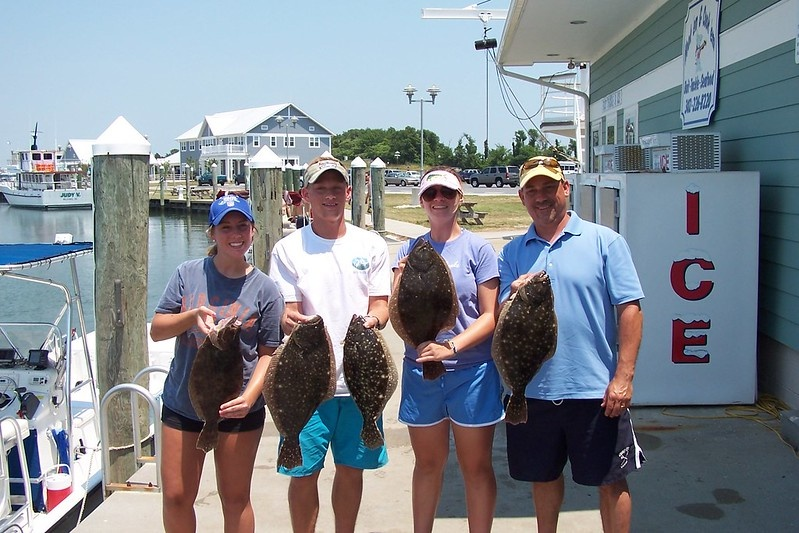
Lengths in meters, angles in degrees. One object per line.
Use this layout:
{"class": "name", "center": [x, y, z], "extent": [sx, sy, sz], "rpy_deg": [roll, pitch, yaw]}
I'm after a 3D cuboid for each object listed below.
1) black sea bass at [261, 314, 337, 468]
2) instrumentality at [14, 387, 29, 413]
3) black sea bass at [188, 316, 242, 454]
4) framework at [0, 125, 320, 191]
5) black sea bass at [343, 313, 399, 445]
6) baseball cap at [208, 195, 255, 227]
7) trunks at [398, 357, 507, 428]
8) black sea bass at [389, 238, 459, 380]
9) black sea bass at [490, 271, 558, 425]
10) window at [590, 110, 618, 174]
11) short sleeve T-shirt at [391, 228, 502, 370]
{"class": "black sea bass", "center": [-0.786, 0.978, 5.815], "extent": [0.570, 1.205, 0.186], "rpy_deg": [-2, 6, -9]}
{"class": "instrumentality", "center": [-4.367, 1.503, 8.485], "extent": [0.115, 0.209, 0.350], "rpy_deg": [-4, 8, -28]}
{"class": "black sea bass", "center": [-1.461, 0.910, 5.852], "extent": [0.438, 1.029, 0.208], "rpy_deg": [-2, 6, -16]}
{"class": "framework", "center": [-13.880, -6.944, 48.066], "extent": [13.358, 5.293, 14.574], "rpy_deg": [-6, 6, -44]}
{"class": "black sea bass", "center": [-0.242, 0.912, 5.901], "extent": [0.420, 1.048, 0.279], "rpy_deg": [-1, 6, -5]}
{"class": "baseball cap", "center": [-1.399, -0.461, 6.042], "extent": [0.225, 0.195, 0.335], "rpy_deg": [-3, 6, -19]}
{"class": "trunks", "center": [0.416, 1.066, 6.145], "extent": [0.900, 0.712, 0.504], "rpy_deg": [-2, -2, 12]}
{"class": "black sea bass", "center": [0.203, 0.299, 5.968], "extent": [0.588, 1.193, 0.155], "rpy_deg": [3, -33, -4]}
{"class": "black sea bass", "center": [0.988, 0.624, 5.829], "extent": [0.499, 1.179, 0.174], "rpy_deg": [1, 6, 12]}
{"class": "window", "center": [4.727, -2.569, 16.433], "extent": [0.719, 1.327, 1.361], "rpy_deg": [1, 5, 10]}
{"class": "short sleeve T-shirt", "center": [0.416, 0.266, 5.820], "extent": [0.961, 1.072, 0.222], "rpy_deg": [2, -3, 26]}
